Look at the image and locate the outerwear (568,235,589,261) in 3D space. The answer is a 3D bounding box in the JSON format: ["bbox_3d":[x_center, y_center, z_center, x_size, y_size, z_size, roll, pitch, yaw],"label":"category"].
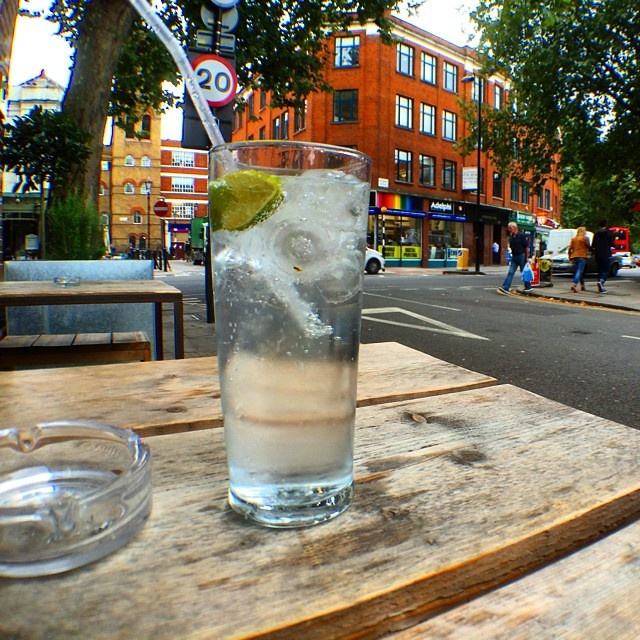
[{"bbox_3d":[6.771,-1.888,14.906,0.464,0.596,0.710,4,10,23],"label":"outerwear"}]

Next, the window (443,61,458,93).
[{"bbox_3d":[7.113,-13.411,31.398,1.992,1.677,0.124,-13,18,-37],"label":"window"}]

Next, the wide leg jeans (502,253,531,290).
[{"bbox_3d":[4.822,-1.163,14.128,0.491,0.889,0.923,5,11,25],"label":"wide leg jeans"}]

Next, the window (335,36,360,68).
[{"bbox_3d":[1.311,-12.915,27.573,1.175,1.479,0.551,0,10,2],"label":"window"}]

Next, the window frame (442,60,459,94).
[{"bbox_3d":[7.131,-13.443,31.397,2.129,1.798,0.131,-14,19,-37],"label":"window frame"}]

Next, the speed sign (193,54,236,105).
[{"bbox_3d":[-0.881,-1.951,4.642,0.483,0.393,0.048,-8,24,-39],"label":"speed sign"}]

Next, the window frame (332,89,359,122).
[{"bbox_3d":[1.227,-10.352,27.698,1.202,1.644,0.456,0,10,4],"label":"window frame"}]

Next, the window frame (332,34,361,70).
[{"bbox_3d":[1.312,-12.915,27.573,1.177,1.479,0.545,0,10,3],"label":"window frame"}]

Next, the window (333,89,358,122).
[{"bbox_3d":[1.228,-10.352,27.698,1.207,1.643,0.440,1,10,5],"label":"window"}]
